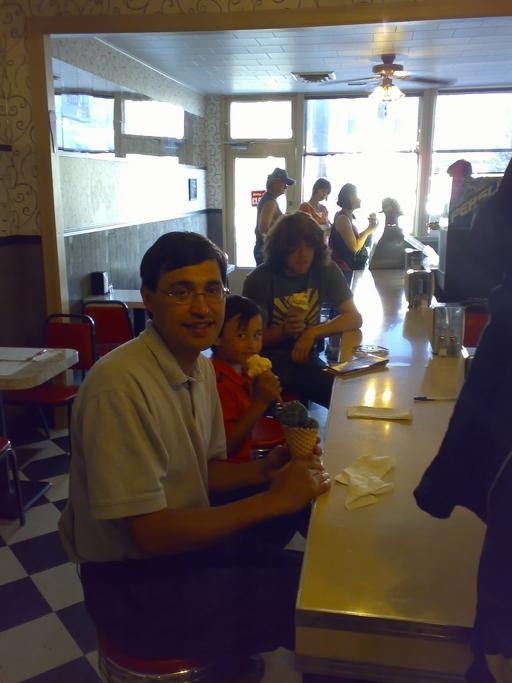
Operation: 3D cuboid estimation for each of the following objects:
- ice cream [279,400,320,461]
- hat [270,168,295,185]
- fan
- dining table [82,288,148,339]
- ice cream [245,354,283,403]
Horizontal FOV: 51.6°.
[{"bbox_3d":[0.095,0.212,1.177,0.086,0.151,0.071,-15,14,-29],"label":"ice cream"},{"bbox_3d":[0.279,-1.598,5.197,0.238,0.116,0.147,15,18,-28],"label":"hat"},{"bbox_3d":[1.379,-2.896,5.598,0.722,0.244,0.656,-2,18,-2],"label":"fan"},{"bbox_3d":[-1.146,-0.163,4.318,0.511,0.386,0.548,12,0,20],"label":"dining table"},{"bbox_3d":[0.010,0.104,1.679,0.092,0.155,0.045,-10,5,3],"label":"ice cream"}]
